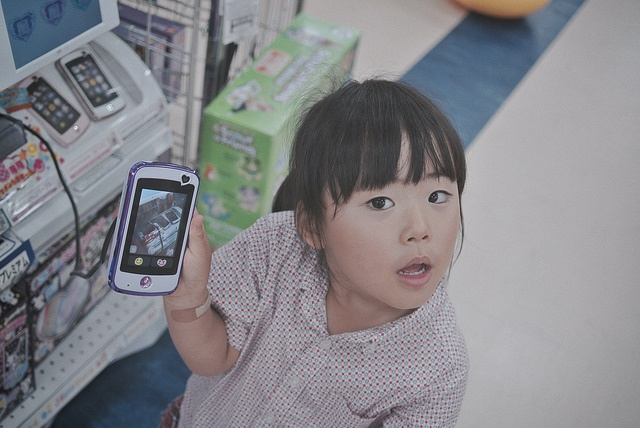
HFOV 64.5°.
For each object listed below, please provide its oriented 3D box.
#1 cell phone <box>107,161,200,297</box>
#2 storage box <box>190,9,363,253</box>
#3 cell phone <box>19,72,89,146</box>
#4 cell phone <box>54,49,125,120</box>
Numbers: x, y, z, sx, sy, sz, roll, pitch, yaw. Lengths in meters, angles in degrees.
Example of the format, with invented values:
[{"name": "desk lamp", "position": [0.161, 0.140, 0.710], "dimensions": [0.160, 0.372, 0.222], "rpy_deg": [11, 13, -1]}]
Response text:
[{"name": "cell phone", "position": [-0.388, 0.034, 1.183], "dimensions": [0.161, 0.282, 0.135], "rpy_deg": [10, 28, -9]}, {"name": "storage box", "position": [-0.052, -0.526, 2.748], "dimensions": [0.462, 1.299, 1.434], "rpy_deg": [3, -6, 22]}, {"name": "cell phone", "position": [-0.770, -0.290, 1.480], "dimensions": [0.121, 0.052, 0.233], "rpy_deg": [-42, 94, -28]}, {"name": "cell phone", "position": [-0.688, -0.388, 1.549], "dimensions": [0.145, 0.048, 0.253], "rpy_deg": [-32, 92, -34]}]
